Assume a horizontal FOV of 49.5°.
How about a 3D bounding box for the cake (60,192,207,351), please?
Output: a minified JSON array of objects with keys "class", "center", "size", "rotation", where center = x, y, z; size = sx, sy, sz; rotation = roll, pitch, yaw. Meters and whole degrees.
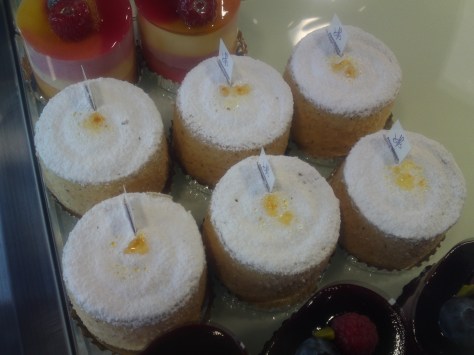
[{"class":"cake","center":[-0.365,0.347,1.900],"size":[0.497,0.318,0.503],"rotation":[-24,64,-18]}]
